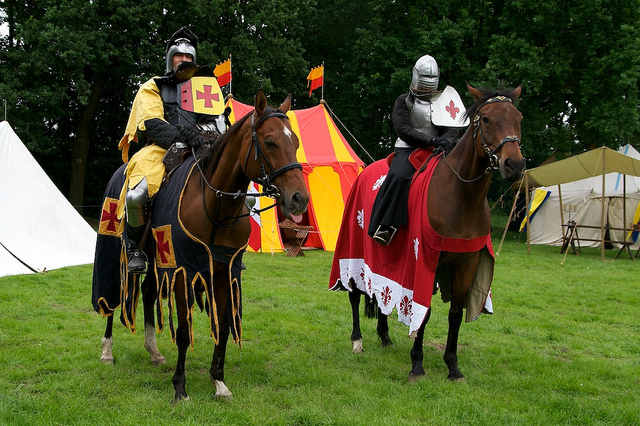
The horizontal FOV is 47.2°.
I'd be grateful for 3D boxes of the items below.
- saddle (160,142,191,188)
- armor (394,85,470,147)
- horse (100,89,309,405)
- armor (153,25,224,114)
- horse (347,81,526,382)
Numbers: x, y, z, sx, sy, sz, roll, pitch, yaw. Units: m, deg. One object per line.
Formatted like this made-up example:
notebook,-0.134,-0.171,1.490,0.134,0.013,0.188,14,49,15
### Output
saddle,-2.863,-1.005,15.090,0.305,0.807,0.628,22,3,-23
armor,2.600,-2.161,16.330,1.434,1.462,0.443,31,-22,-8
horse,-2.054,0.611,14.901,3.691,6.232,1.290,4,7,7
armor,-2.772,-2.930,15.518,1.439,1.714,1.043,0,3,6
horse,2.316,0.581,17.146,2.037,5.882,7.861,1,-4,-23
